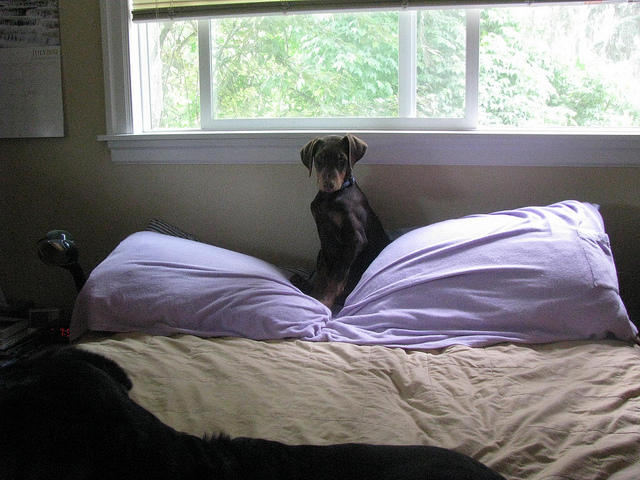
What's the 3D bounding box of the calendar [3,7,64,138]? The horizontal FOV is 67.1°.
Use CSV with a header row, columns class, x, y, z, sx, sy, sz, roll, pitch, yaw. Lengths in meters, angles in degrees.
class,x,y,z,sx,sy,sz,roll,pitch,yaw
calendar,-1.427,-0.821,2.379,0.318,0.609,0.086,3,14,8
